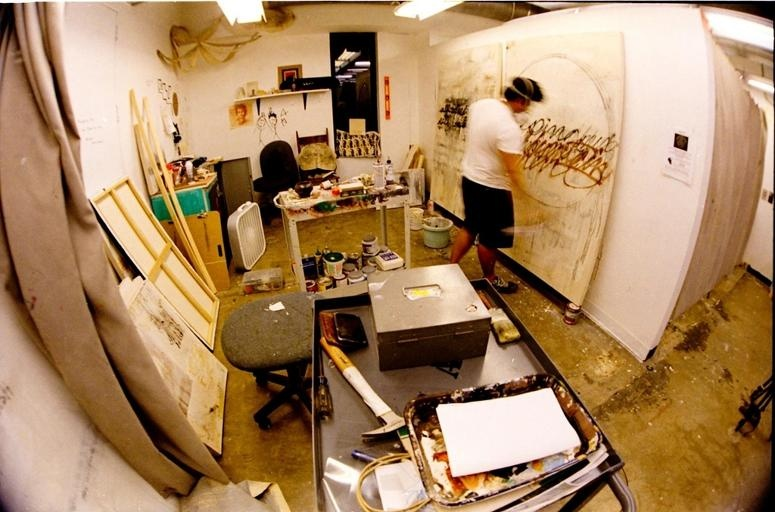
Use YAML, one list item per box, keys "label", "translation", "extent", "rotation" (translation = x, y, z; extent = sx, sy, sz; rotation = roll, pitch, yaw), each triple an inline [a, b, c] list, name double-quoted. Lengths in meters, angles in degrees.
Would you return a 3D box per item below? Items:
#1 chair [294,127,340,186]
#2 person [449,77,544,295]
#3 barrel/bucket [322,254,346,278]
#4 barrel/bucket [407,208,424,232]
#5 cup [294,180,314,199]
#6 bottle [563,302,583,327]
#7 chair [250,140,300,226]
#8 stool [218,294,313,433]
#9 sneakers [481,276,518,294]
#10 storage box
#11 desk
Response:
- label: "chair"
  translation: [-0.863, -1.196, 6.183]
  extent: [0.483, 0.555, 0.486]
  rotation: [-7, 25, -5]
- label: "person"
  translation: [0.815, -0.511, 4.131]
  extent: [0.580, 1.699, 0.355]
  rotation: [3, 26, 15]
- label: "barrel/bucket"
  translation: [-0.463, 0.058, 4.286]
  extent: [0.186, 0.176, 0.188]
  rotation: [0, 16, 0]
- label: "barrel/bucket"
  translation: [0.306, -0.401, 5.757]
  extent: [0.231, 0.239, 0.229]
  rotation: [-1, 9, 0]
- label: "cup"
  translation: [-0.705, -0.557, 4.357]
  extent: [0.159, 0.129, 0.157]
  rotation: [-1, 22, 1]
- label: "bottle"
  translation: [1.414, 0.454, 3.954]
  extent: [0.159, 0.177, 0.160]
  rotation: [13, 28, 31]
- label: "chair"
  translation: [-1.296, -0.881, 5.922]
  extent: [0.519, 0.796, 0.516]
  rotation: [-19, 28, -27]
- label: "stool"
  translation: [-0.663, 0.688, 3.434]
  extent: [0.717, 0.661, 0.656]
  rotation: [-15, 18, -21]
- label: "sneakers"
  translation: [0.840, 0.223, 3.873]
  extent: [0.303, 0.127, 0.118]
  rotation: [-2, 29, -4]
- label: "storage box"
  translation: [0.208, 0.287, 2.591]
  extent: [0.524, 0.249, 0.514]
  rotation: [-6, 37, -7]
- label: "desk"
  translation: [-0.379, -0.033, 4.681]
  extent: [0.652, 0.825, 1.110]
  rotation: [-19, 1, 34]
